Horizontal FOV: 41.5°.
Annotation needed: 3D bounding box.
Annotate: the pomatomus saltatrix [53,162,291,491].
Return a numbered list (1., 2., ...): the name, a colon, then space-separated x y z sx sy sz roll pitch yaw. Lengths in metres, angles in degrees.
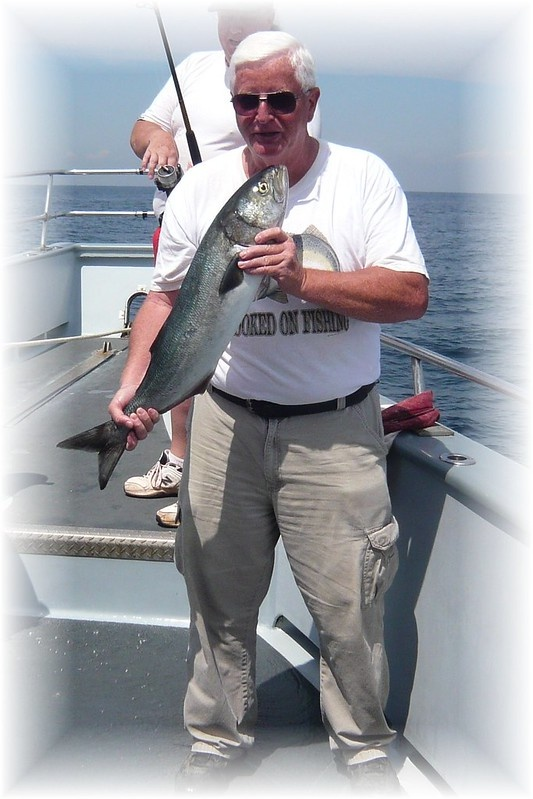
1. pomatomus saltatrix: -0.141 -0.216 1.525 0.428 0.518 0.124 5 9 39
